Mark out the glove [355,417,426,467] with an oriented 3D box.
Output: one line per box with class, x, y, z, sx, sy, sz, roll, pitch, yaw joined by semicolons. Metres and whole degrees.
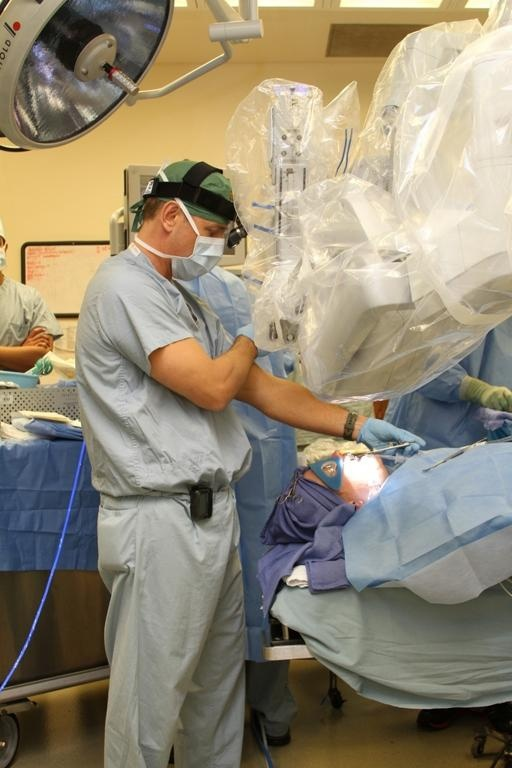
glove;0.279;0.112;1.343;0.105;0.087;0.124;-3;7;-40
